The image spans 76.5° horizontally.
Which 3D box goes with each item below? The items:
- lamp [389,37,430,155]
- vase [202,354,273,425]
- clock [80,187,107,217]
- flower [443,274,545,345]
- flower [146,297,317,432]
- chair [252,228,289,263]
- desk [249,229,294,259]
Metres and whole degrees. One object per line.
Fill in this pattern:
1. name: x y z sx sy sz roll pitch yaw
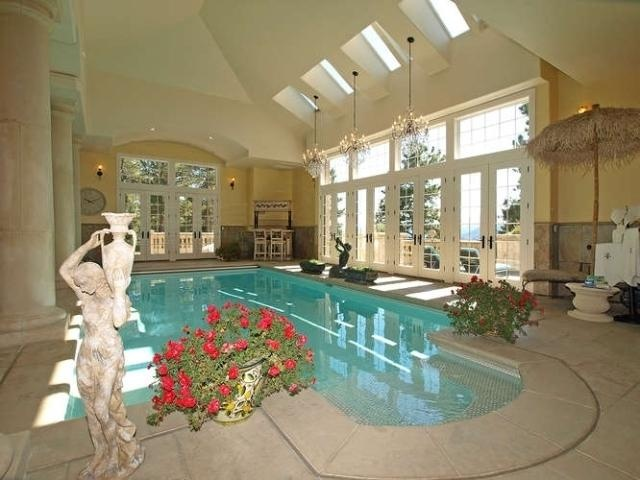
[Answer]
1. lamp: 2.145 -3.352 9.732 0.848 2.452 2.538 2 6 11
2. vase: -0.740 1.294 3.696 0.523 0.443 0.497 0 0 -26
3. clock: -7.346 -1.252 13.176 0.717 0.911 0.238 -3 7 -32
4. flower: 2.254 0.836 5.465 0.937 0.785 1.013 -5 17 4
5. flower: -0.816 1.225 3.696 0.944 0.689 1.082 12 4 39
6. chair: -1.810 0.147 15.559 1.408 1.190 1.360 1 6 -2
7. desk: -1.851 0.150 15.544 1.715 1.470 1.040 1 8 7
